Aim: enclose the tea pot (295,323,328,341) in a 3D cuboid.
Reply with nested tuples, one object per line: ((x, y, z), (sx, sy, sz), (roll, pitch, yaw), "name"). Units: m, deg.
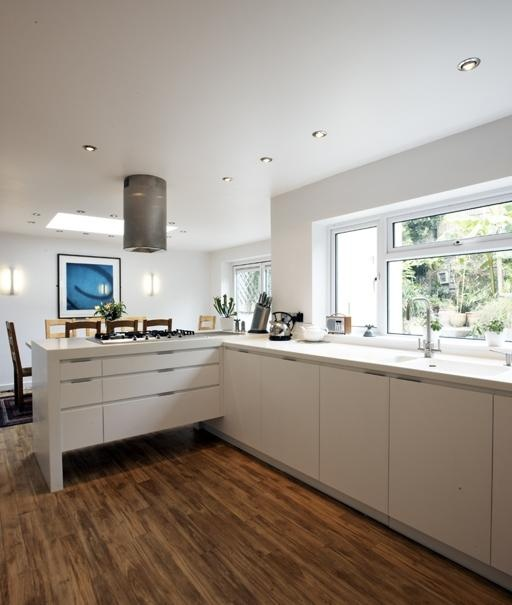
((0.426, 0.235, 3.440), (0.206, 0.105, 0.127), (-1, -4, 43), "tea pot")

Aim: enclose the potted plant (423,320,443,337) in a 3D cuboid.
((1.117, 0.158, 2.756), (0.099, 0.102, 0.102), (-1, 5, -24), "potted plant")

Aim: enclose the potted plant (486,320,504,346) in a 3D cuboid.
((1.363, 0.178, 2.478), (0.095, 0.149, 0.054), (1, 3, 33), "potted plant")

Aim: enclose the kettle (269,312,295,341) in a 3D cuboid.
((0.194, 0.201, 3.581), (0.176, 0.242, 0.223), (-3, -12, 34), "kettle")

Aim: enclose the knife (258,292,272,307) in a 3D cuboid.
((0.075, -0.014, 3.953), (0.125, 0.129, 0.071), (0, 2, 8), "knife")

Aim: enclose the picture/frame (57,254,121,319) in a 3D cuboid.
((-2.503, -0.215, 6.557), (0.876, 1.084, 0.035), (1, 31, -23), "picture/frame")

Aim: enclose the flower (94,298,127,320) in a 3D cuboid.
((-1.737, 0.105, 5.373), (0.408, 0.313, 0.419), (1, 0, 41), "flower")
